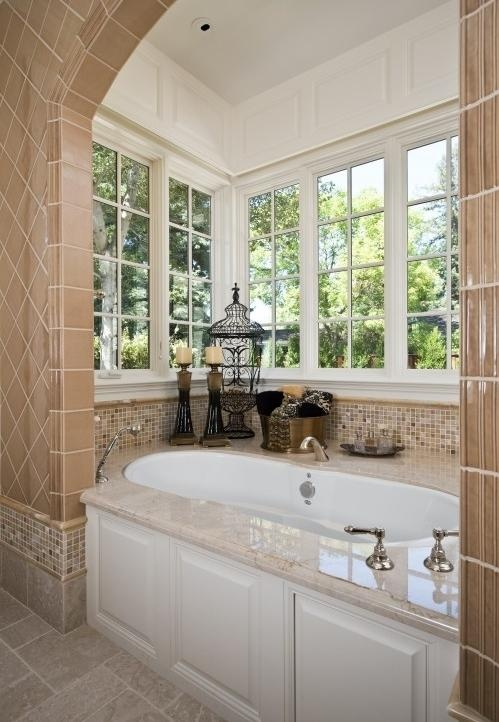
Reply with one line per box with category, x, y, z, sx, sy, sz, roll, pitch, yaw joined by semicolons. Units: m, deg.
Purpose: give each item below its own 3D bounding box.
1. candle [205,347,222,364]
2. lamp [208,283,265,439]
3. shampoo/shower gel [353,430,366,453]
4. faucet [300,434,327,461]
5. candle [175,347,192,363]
candle;-0.184;-0.029;2.945;0.079;0.094;0.082;-4;-9;22
lamp;-0.078;-0.012;3.324;0.315;0.780;0.576;-1;0;0
shampoo/shower gel;0.523;0.395;2.676;0.063;0.130;0.064;1;-2;25
faucet;0.280;0.383;2.510;0.080;0.129;0.212;2;1;29
candle;-0.337;-0.030;2.846;0.088;0.089;0.073;4;6;-6
